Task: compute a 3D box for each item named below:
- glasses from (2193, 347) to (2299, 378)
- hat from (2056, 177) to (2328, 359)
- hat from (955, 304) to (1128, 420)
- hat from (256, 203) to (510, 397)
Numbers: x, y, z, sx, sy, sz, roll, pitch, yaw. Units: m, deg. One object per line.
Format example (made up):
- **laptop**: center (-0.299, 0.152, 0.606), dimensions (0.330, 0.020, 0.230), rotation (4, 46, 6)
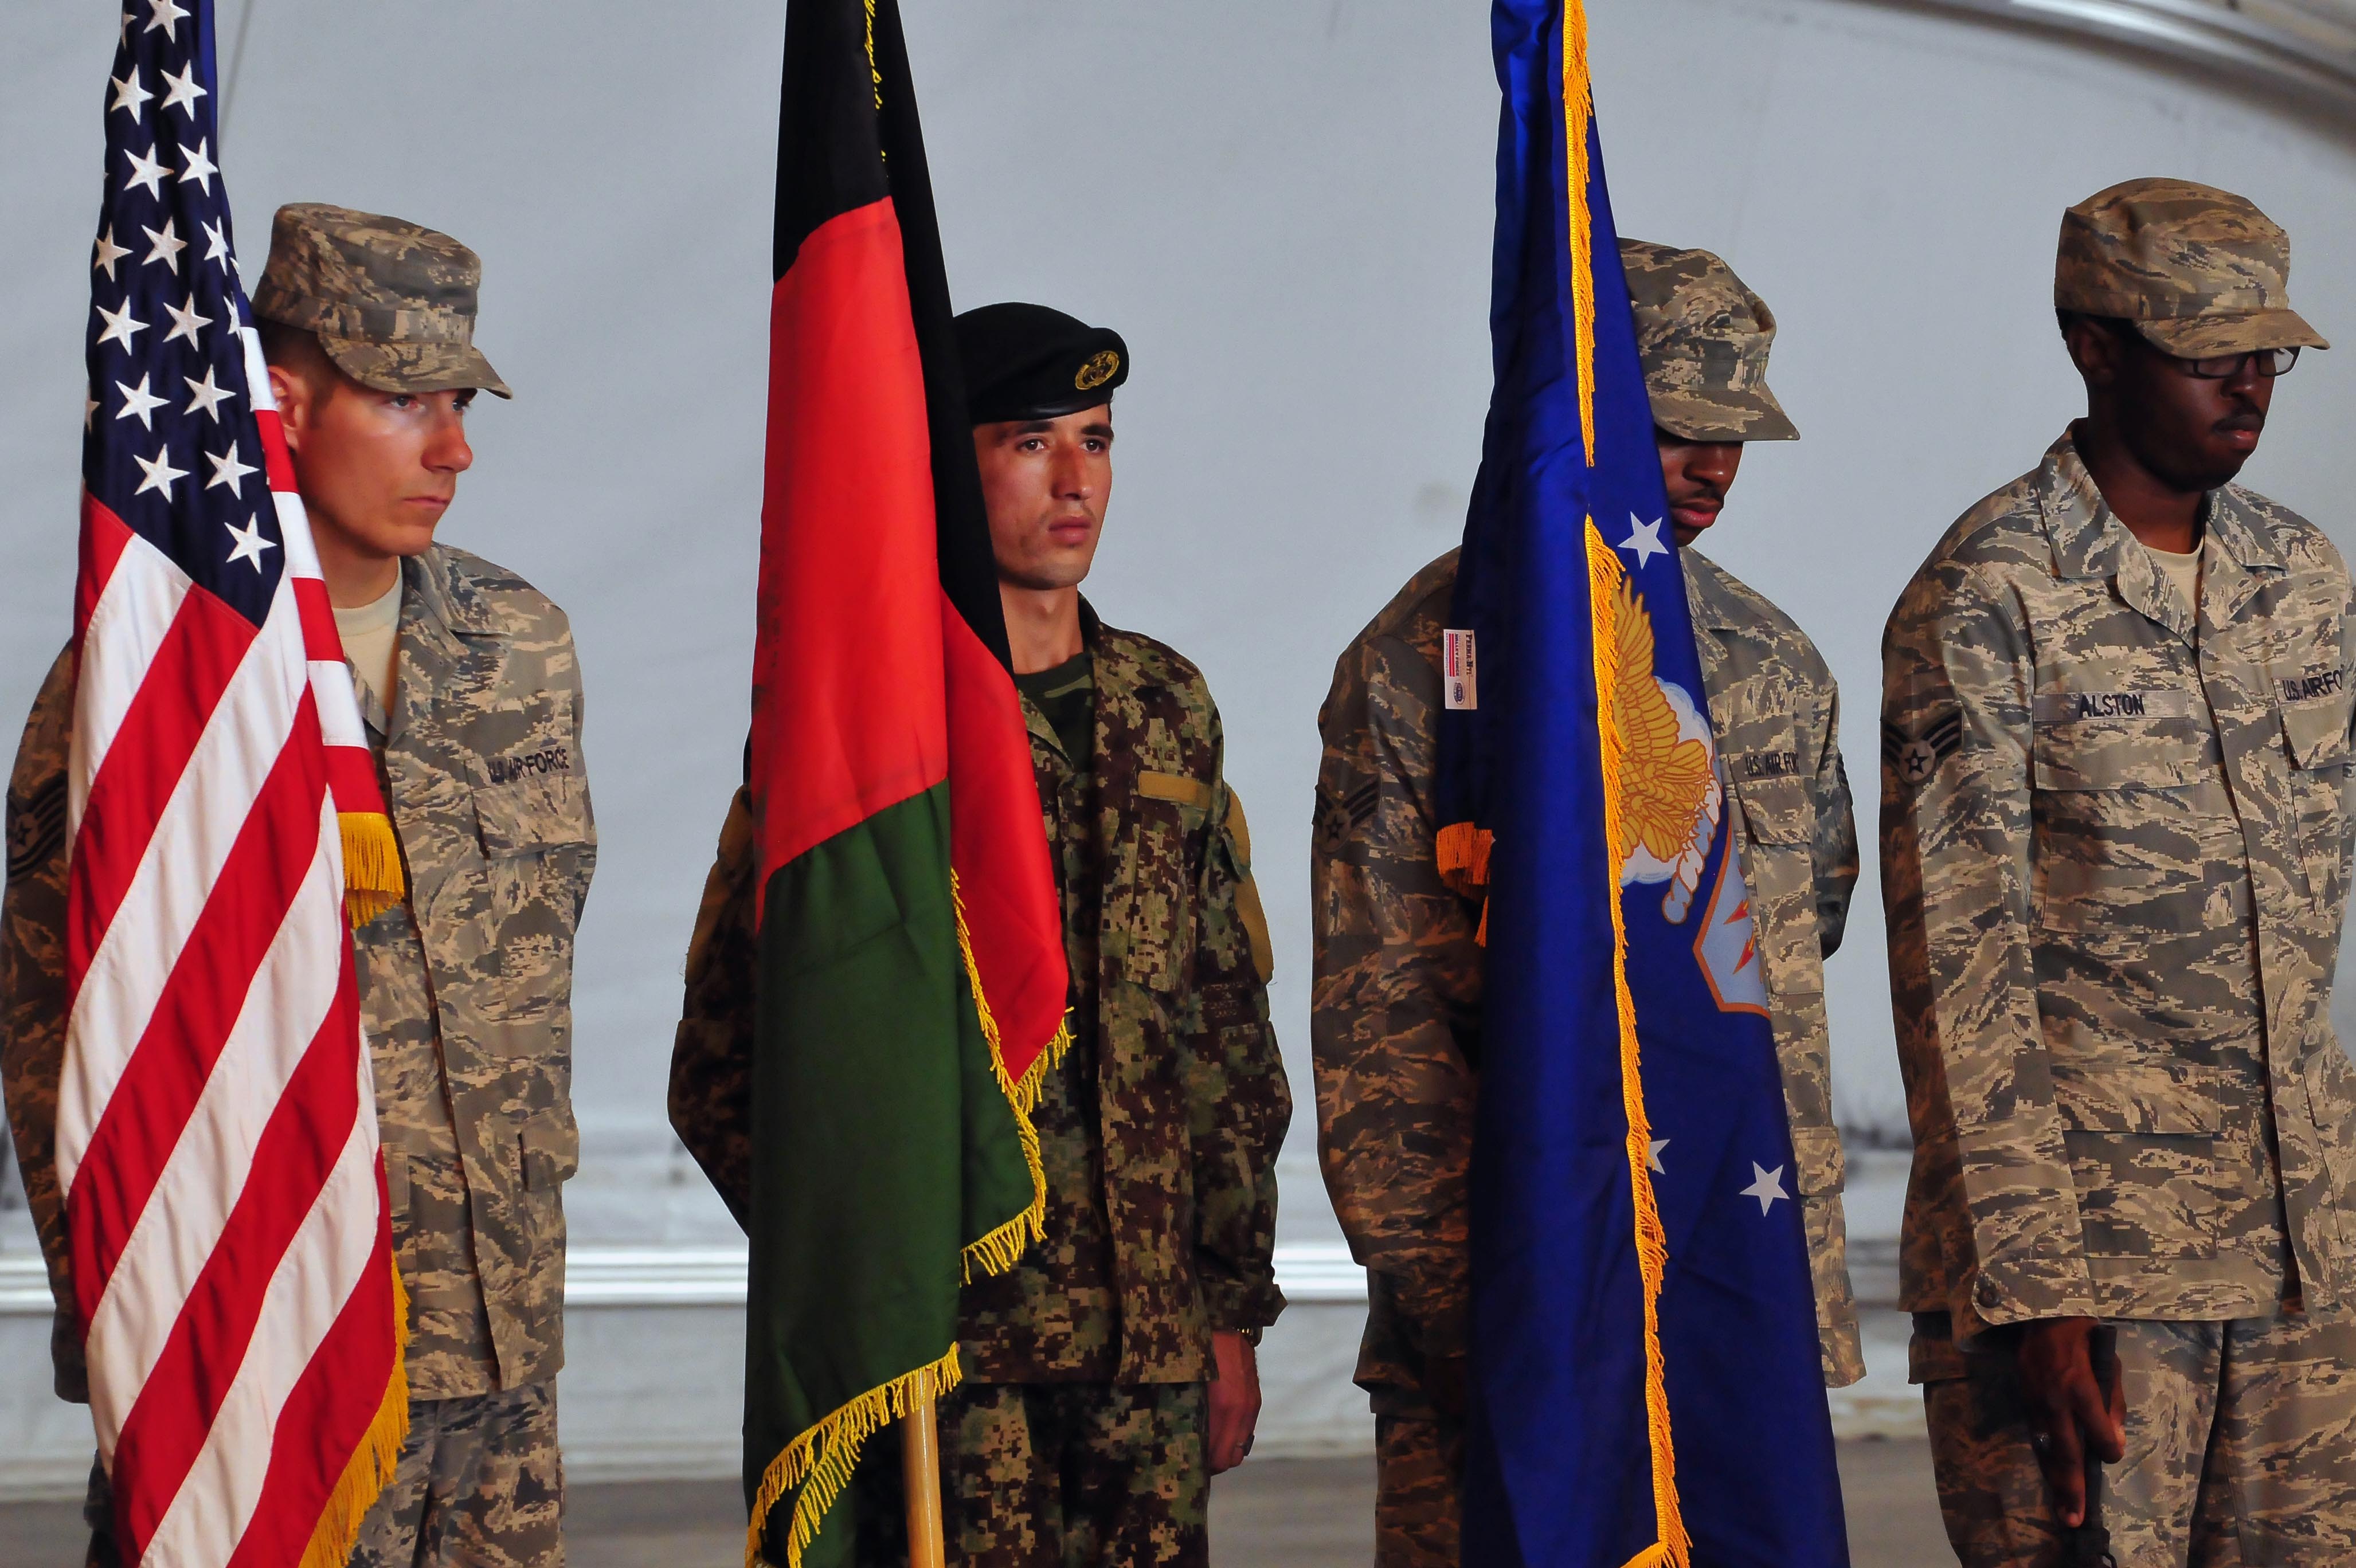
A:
- **glasses**: center (1.595, -0.628, 7.636), dimensions (0.155, 0.043, 0.159), rotation (-2, 0, -42)
- **hat**: center (1.544, -0.790, 7.706), dimensions (0.343, 0.238, 0.481), rotation (-10, 21, -42)
- **hat**: center (-0.199, -0.617, 7.501), dimensions (0.216, 0.086, 0.198), rotation (-1, 8, 40)
- **hat**: center (-1.170, -0.713, 7.585), dimensions (0.462, 0.244, 0.350), rotation (13, 10, 21)
